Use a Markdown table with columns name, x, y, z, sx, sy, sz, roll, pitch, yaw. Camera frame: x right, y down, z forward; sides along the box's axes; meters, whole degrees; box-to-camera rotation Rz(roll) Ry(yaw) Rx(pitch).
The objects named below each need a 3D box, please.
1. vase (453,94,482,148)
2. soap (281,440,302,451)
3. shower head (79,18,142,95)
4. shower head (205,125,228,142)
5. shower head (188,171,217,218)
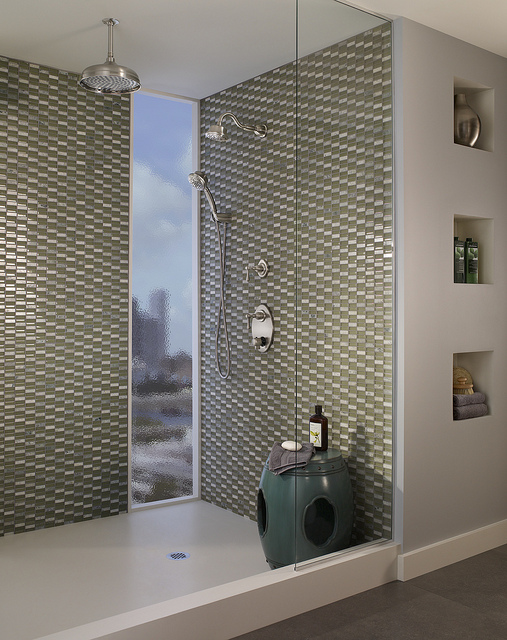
| name | x | y | z | sx | sy | sz | roll | pitch | yaw |
| --- | --- | --- | --- | --- | --- | --- | --- | --- | --- |
| vase | 1.117 | -1.040 | 2.981 | 0.131 | 0.238 | 0.156 | 2 | 9 | 18 |
| soap | 0.153 | 0.537 | 2.427 | 0.060 | 0.053 | 0.015 | 11 | 22 | 6 |
| shower head | -0.523 | -0.964 | 2.109 | 0.100 | 0.253 | 0.226 | 9 | 7 | 34 |
| shower head | -0.161 | -0.847 | 2.589 | 0.070 | 0.086 | 0.073 | 10 | -11 | -6 |
| shower head | -0.248 | -0.604 | 2.698 | 0.148 | 0.187 | 0.074 | 3 | 6 | -23 |
